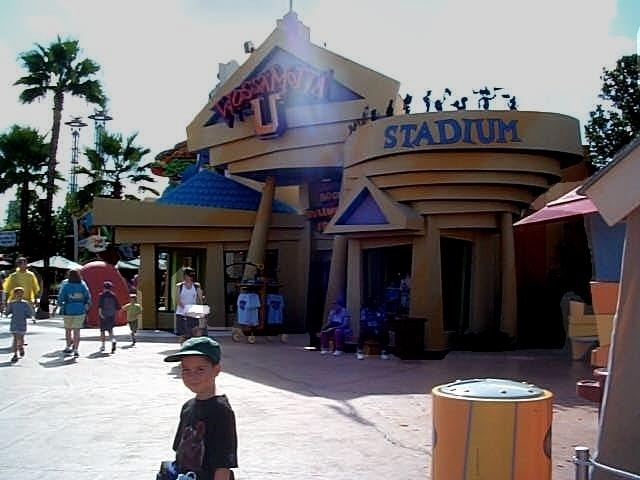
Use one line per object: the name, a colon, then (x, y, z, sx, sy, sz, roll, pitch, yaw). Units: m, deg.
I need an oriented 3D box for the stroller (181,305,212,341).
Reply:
stroller: (-2.610, 1.739, 13.486, 0.508, 0.774, 1.381, 2, -7, -11)

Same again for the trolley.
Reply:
trolley: (-1.722, 1.966, 20.698, 2.418, 3.435, 2.219, 2, -6, -24)

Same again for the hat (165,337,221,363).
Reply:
hat: (-0.907, 0.808, 4.753, 0.389, 0.152, 0.264, 8, -17, -35)

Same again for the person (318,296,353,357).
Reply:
person: (0.408, 2.224, 16.362, 0.564, 1.382, 0.820, 5, -7, -37)
